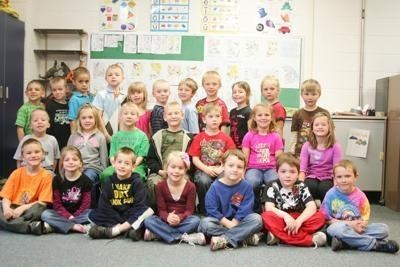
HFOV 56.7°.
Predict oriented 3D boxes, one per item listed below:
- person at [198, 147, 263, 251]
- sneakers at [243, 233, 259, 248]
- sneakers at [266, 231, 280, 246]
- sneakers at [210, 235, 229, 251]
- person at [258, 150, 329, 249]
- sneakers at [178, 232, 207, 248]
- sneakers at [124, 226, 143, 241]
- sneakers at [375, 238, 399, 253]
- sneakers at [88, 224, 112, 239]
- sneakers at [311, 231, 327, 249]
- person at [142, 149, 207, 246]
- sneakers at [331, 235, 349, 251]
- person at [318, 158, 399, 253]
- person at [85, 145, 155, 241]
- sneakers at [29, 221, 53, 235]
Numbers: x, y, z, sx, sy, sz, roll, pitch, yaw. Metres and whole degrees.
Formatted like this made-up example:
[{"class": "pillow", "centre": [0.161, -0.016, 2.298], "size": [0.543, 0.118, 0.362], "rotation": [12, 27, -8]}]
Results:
[{"class": "person", "centre": [0.280, 0.607, 3.533], "size": [0.582, 0.870, 0.363], "rotation": [-2, 7, -19]}, {"class": "sneakers", "centre": [0.485, 1.020, 3.485], "size": [0.087, 0.066, 0.197], "rotation": [-10, -9, -29]}, {"class": "sneakers", "centre": [0.681, 0.999, 3.501], "size": [0.064, 0.074, 0.183], "rotation": [-4, 3, 17]}, {"class": "sneakers", "centre": [0.176, 0.997, 3.395], "size": [0.133, 0.120, 0.158], "rotation": [2, 7, 17]}, {"class": "person", "centre": [0.880, 0.649, 3.617], "size": [0.617, 0.797, 0.723], "rotation": [-3, 9, -1]}, {"class": "sneakers", "centre": [-0.060, 0.987, 3.481], "size": [0.273, 0.093, 0.113], "rotation": [-3, 12, 31]}, {"class": "sneakers", "centre": [-0.637, 0.956, 3.552], "size": [0.180, 0.112, 0.127], "rotation": [-1, 7, -10]}, {"class": "sneakers", "centre": [1.721, 1.042, 3.447], "size": [0.239, 0.086, 0.100], "rotation": [-4, 4, 25]}, {"class": "sneakers", "centre": [-0.960, 0.945, 3.533], "size": [0.195, 0.113, 0.079], "rotation": [3, 0, -14]}, {"class": "sneakers", "centre": [1.149, 1.001, 3.529], "size": [0.219, 0.125, 0.079], "rotation": [-5, 9, -37]}, {"class": "person", "centre": [-0.264, 0.618, 3.522], "size": [0.575, 0.791, 0.605], "rotation": [0, 0, -30]}, {"class": "sneakers", "centre": [1.329, 1.022, 3.462], "size": [0.231, 0.095, 0.078], "rotation": [-2, 4, -44]}, {"class": "person", "centre": [1.367, 0.731, 3.838], "size": [0.700, 0.870, 0.829], "rotation": [-2, -1, 0]}, {"class": "person", "centre": [-0.756, 0.571, 3.645], "size": [0.615, 0.816, 0.636], "rotation": [3, 3, 14]}, {"class": "sneakers", "centre": [-1.565, 0.917, 3.611], "size": [0.211, 0.130, 0.084], "rotation": [-3, 7, -23]}]
